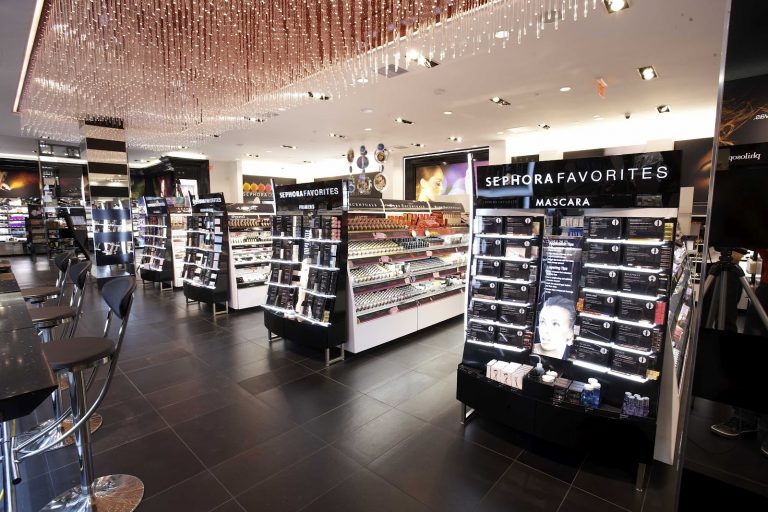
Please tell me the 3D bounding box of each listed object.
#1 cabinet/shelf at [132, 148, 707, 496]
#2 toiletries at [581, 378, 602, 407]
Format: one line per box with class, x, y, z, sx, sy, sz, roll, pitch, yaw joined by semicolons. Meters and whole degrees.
cabinet/shelf;0.441;0.149;7.865;8.161;3.100;4.519;5;9;37
toiletries;2.002;1.314;4.412;0.192;0.254;0.119;-1;7;-9
